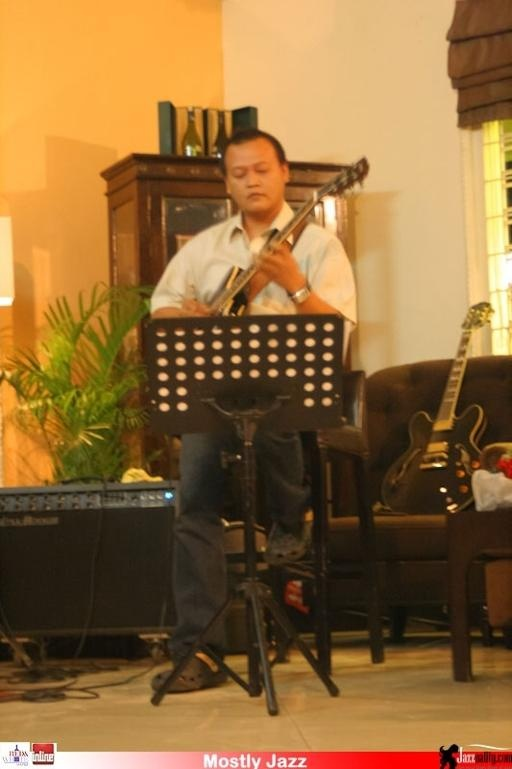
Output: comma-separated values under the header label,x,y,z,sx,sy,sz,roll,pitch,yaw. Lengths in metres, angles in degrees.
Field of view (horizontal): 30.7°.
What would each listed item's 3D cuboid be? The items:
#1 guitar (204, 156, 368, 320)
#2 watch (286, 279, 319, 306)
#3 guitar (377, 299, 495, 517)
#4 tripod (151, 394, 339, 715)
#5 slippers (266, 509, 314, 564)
label,x,y,z,sx,sy,sz,roll,pitch,yaw
guitar,0.081,-0.347,2.173,0.403,0.364,0.232,-3,3,-16
watch,0.102,-0.200,2.080,0.062,0.041,0.064,-32,-12,-35
guitar,0.602,0.104,3.137,0.340,0.595,0.657,-2,2,13
tripod,-0.033,0.350,1.977,0.390,0.650,0.382,-1,3,31
slippers,0.079,0.376,2.296,0.088,0.044,0.150,-13,-35,-9
